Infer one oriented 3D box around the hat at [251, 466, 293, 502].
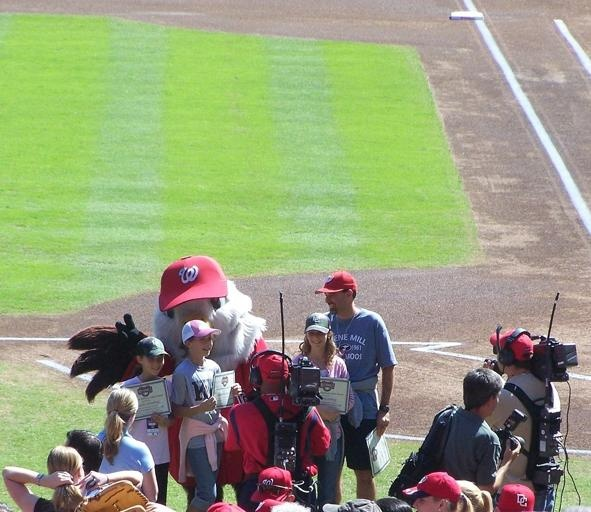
[{"bbox_3d":[-0.375,3.982,28.575,0.488,0.395,0.695,5,8,27],"label":"hat"}]
